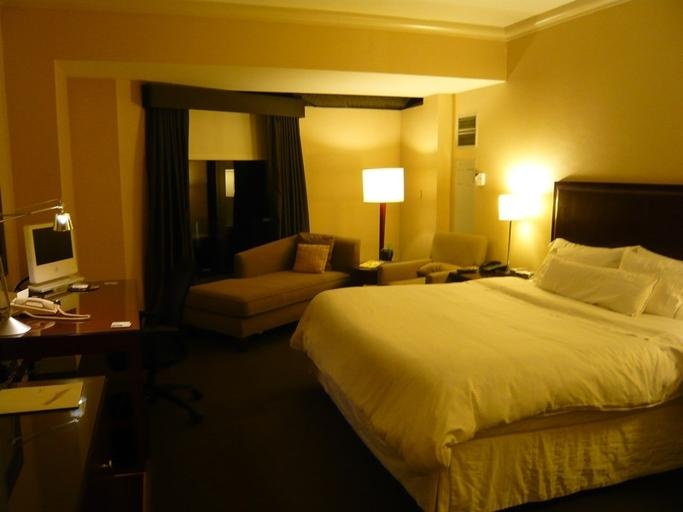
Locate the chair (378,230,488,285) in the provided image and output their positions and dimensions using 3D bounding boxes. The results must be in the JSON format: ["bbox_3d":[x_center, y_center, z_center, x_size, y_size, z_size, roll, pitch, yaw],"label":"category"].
[{"bbox_3d":[1.067,0.077,6.320,0.933,1.108,0.741,-2,7,-32],"label":"chair"}]

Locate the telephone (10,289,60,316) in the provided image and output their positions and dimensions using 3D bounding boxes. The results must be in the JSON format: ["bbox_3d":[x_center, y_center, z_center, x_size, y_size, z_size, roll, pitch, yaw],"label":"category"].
[{"bbox_3d":[-2.136,0.347,3.644,0.273,0.128,0.206,9,-1,-21],"label":"telephone"}]

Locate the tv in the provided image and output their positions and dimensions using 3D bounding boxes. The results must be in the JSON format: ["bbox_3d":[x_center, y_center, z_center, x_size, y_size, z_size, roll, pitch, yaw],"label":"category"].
[{"bbox_3d":[-2.345,0.024,4.197,0.191,0.497,0.521,5,9,5],"label":"tv"}]

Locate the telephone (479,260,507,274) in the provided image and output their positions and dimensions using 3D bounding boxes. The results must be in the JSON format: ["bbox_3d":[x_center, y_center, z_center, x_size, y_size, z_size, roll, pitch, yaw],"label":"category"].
[{"bbox_3d":[1.693,0.131,5.851,0.205,0.083,0.170,-5,9,-36],"label":"telephone"}]

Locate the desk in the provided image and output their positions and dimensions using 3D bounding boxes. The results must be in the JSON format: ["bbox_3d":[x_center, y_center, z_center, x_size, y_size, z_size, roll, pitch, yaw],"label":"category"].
[{"bbox_3d":[-1.574,0.758,3.039,0.392,0.617,1.166,-3,9,-16],"label":"desk"}]
